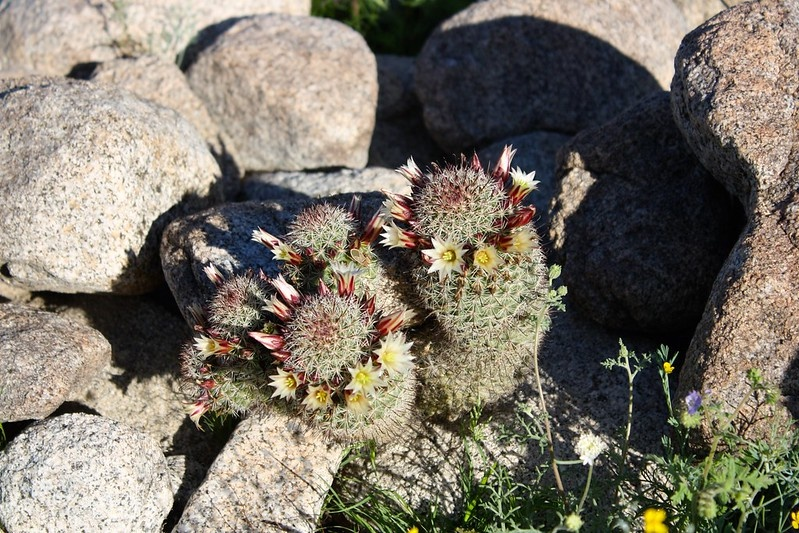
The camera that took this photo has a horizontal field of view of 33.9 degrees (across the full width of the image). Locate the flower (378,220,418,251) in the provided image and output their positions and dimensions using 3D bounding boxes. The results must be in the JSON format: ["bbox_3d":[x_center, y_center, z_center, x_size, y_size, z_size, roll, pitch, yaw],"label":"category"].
[{"bbox_3d":[-0.021,-0.207,9.075,0.271,0.106,0.150,11,66,-36],"label":"flower"}]

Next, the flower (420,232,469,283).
[{"bbox_3d":[0.288,-0.025,8.986,0.294,0.241,0.248,12,64,5],"label":"flower"}]

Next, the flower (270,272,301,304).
[{"bbox_3d":[-0.776,0.168,9.060,0.109,0.110,0.267,-38,88,-36],"label":"flower"}]

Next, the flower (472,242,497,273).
[{"bbox_3d":[0.584,-0.051,8.971,0.174,0.091,0.167,37,69,16],"label":"flower"}]

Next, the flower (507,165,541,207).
[{"bbox_3d":[0.845,-0.544,9.223,0.170,0.312,0.339,7,63,3],"label":"flower"}]

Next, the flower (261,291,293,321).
[{"bbox_3d":[-0.828,0.297,9.011,0.205,0.130,0.118,40,24,-1],"label":"flower"}]

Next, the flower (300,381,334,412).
[{"bbox_3d":[-0.558,0.899,8.907,0.195,0.171,0.139,-4,63,-3],"label":"flower"}]

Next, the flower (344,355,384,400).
[{"bbox_3d":[-0.241,0.747,8.828,0.246,0.100,0.241,-26,100,-14],"label":"flower"}]

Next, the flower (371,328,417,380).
[{"bbox_3d":[-0.037,0.603,8.830,0.247,0.122,0.286,12,87,-16],"label":"flower"}]

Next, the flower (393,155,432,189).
[{"bbox_3d":[0.086,-0.685,9.241,0.172,0.146,0.262,-41,82,-6],"label":"flower"}]

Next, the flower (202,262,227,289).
[{"bbox_3d":[-1.318,0.063,9.345,0.120,0.064,0.193,-36,99,-24],"label":"flower"}]

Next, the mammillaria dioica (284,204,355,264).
[{"bbox_3d":[-0.546,-0.270,9.213,0.385,0.301,0.402,-16,28,-16],"label":"mammillaria dioica"}]

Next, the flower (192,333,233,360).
[{"bbox_3d":[-1.299,0.555,9.054,0.287,0.104,0.139,11,72,-44],"label":"flower"}]

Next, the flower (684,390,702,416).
[{"bbox_3d":[1.886,0.884,8.495,0.121,0.049,0.135,18,88,30],"label":"flower"}]
